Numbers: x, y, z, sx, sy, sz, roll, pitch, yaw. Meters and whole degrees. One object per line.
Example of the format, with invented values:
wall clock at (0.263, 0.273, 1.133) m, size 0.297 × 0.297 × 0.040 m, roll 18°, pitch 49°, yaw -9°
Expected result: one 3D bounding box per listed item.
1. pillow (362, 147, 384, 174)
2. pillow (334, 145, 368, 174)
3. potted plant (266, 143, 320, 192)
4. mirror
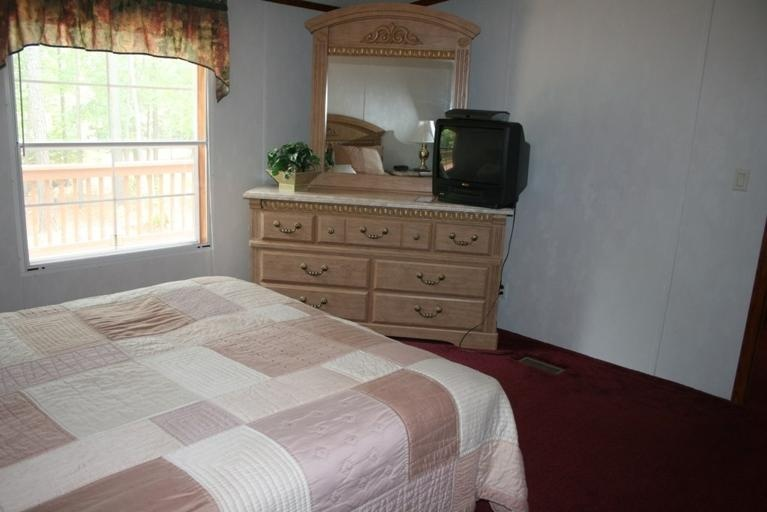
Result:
pillow at (-0.087, -0.757, 4.223) m, size 0.221 × 0.194 × 0.065 m, roll 1°, pitch 0°, yaw 9°
pillow at (-0.297, -0.774, 4.245) m, size 0.228 × 0.215 × 0.096 m, roll 1°, pitch 13°, yaw 8°
potted plant at (-0.680, -0.674, 4.121) m, size 0.419 × 0.275 × 0.407 m, roll 2°, pitch 5°, yaw 15°
mirror at (0.075, -1.186, 4.092) m, size 1.711 × 1.664 × 0.129 m, roll 1°, pitch 13°, yaw 0°
